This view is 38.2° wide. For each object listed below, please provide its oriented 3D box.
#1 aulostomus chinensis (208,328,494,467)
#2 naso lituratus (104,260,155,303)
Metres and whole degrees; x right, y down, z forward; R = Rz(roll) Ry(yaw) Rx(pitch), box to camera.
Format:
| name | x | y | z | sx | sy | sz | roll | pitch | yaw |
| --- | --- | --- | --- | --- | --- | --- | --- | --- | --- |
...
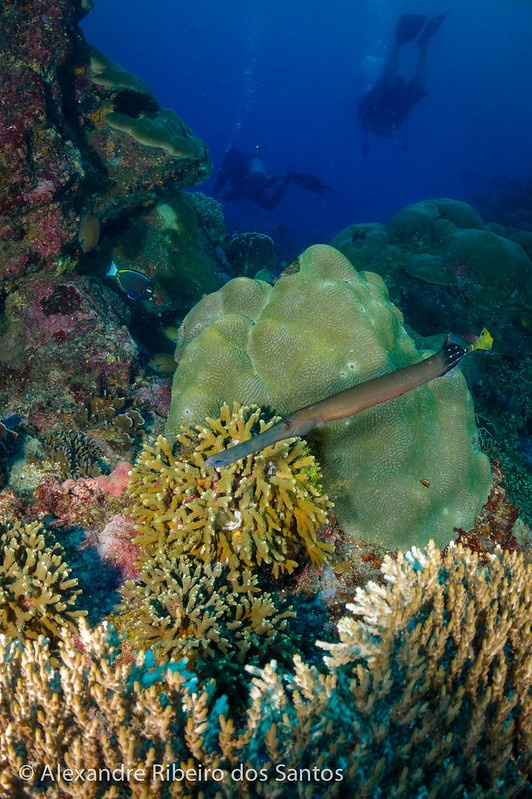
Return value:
| name | x | y | z | sx | sy | sz | roll | pitch | yaw |
| --- | --- | --- | --- | --- | --- | --- | --- | --- | --- |
| aulostomus chinensis | 0.524 | 0.054 | 5.227 | 1.980 | 0.607 | 0.213 | -27 | 78 | -12 |
| naso lituratus | -1.490 | -1.295 | 8.549 | 0.452 | 0.617 | 0.266 | 25 | 74 | 3 |
